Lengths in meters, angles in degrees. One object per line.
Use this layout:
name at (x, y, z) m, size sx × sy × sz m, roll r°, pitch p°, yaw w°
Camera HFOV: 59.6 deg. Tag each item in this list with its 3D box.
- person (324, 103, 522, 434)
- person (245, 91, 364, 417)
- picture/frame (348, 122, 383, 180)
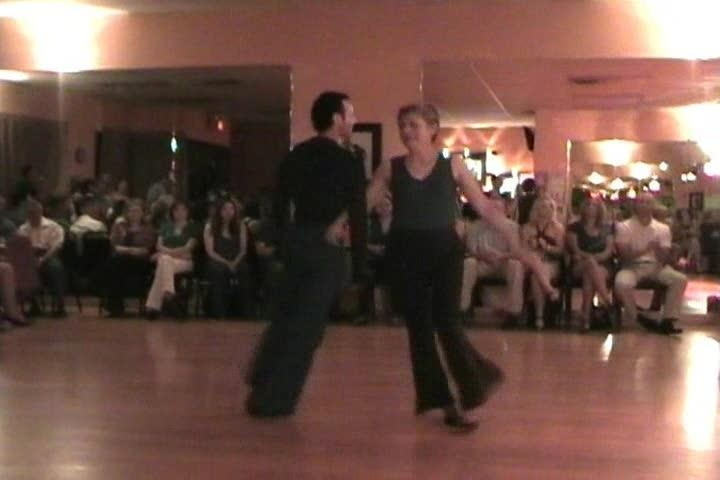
person at (0.357, 0.102, 2.821) m, size 0.640 × 1.405 × 0.339 m, roll 2°, pitch 0°, yaw -33°
person at (-0.216, 0.089, 2.952) m, size 0.486 × 1.498 × 0.426 m, roll 9°, pitch 8°, yaw -3°
picture/frame at (0.019, -0.446, 3.105) m, size 0.027 × 0.367 × 0.348 m, roll 1°, pitch 5°, yaw 29°
